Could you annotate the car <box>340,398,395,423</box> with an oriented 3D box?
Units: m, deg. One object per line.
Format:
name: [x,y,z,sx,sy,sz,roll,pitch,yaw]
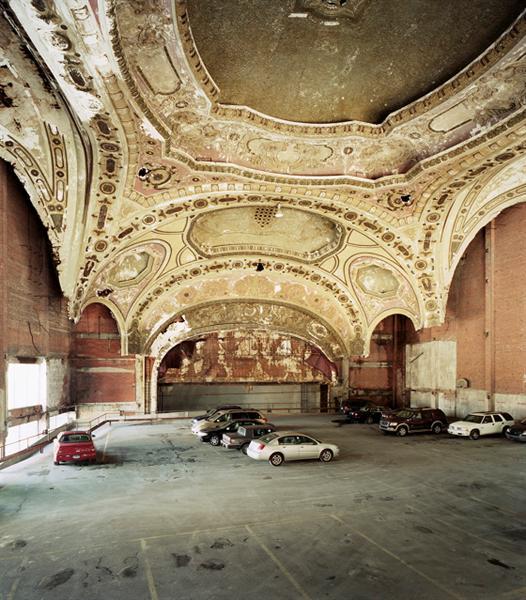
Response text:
car: [5.537,6.502,24.478,2.792,0.738,1.130,0,0,-22]

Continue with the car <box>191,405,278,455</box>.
car: [-1.153,5.323,17.251,3.177,0.933,1.350,3,-5,-21]

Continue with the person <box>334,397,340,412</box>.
person: [4.728,7.039,28.568,0.250,1.074,0.868,3,-8,-12]

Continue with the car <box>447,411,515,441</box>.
car: [9.298,5.491,18.688,2.669,0.854,1.160,6,-14,-26]

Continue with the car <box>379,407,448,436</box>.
car: [6.814,5.741,20.100,2.636,0.960,1.362,4,-10,-17]

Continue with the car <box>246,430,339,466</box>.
car: [0.881,4.756,13.842,2.478,0.750,1.097,-1,-3,-15]
